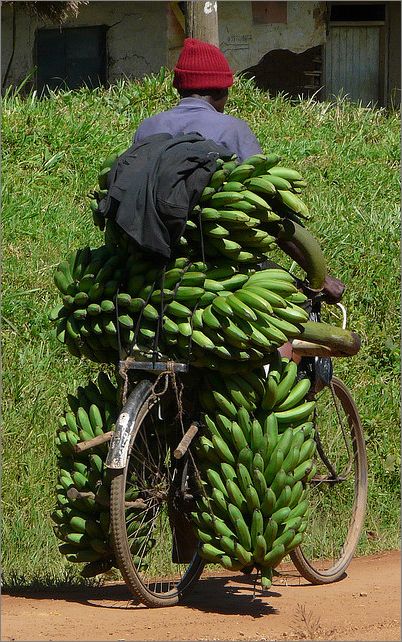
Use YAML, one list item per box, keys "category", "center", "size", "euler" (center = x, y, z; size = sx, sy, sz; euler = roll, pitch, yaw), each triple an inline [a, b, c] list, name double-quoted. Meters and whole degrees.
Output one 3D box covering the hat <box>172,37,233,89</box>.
- category: "hat"
  center: [0.006, -1.197, 3.710]
  size: [0.282, 0.214, 0.283]
  euler: [15, 26, 27]
